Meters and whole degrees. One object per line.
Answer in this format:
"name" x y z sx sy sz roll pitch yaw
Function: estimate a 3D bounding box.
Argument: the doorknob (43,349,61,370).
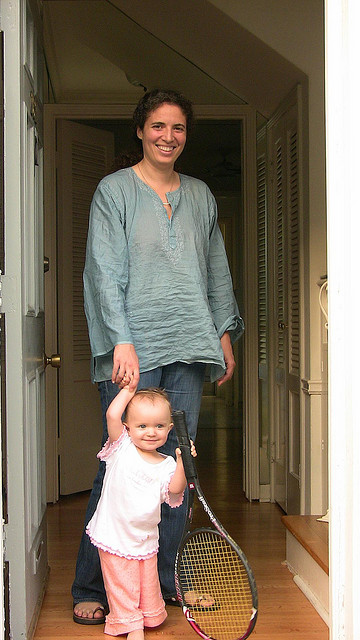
"doorknob" -0.424 0.135 1.758 0.055 0.077 0.051 -3 -20 4

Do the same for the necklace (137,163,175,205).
"necklace" -0.053 -0.375 1.448 0.056 0.095 0.021 -13 -11 -22

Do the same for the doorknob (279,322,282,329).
"doorknob" 0.504 0.023 2.608 0.015 0.024 0.022 -2 -7 16

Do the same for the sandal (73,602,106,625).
"sandal" -0.254 0.808 1.442 0.099 0.050 0.086 -3 0 0
